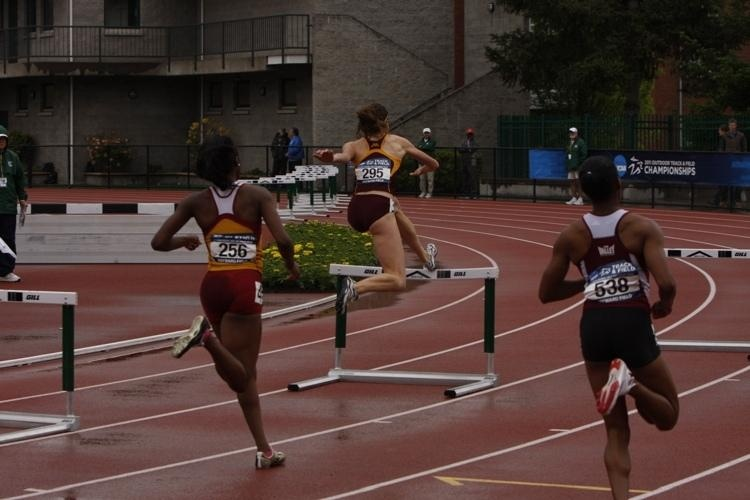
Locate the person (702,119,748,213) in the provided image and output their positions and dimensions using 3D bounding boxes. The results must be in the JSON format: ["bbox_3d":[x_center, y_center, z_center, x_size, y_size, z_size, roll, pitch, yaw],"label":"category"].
[{"bbox_3d":[10.068,-2.482,29.306,1.175,2.741,1.093,3,-10,-7],"label":"person"}]
